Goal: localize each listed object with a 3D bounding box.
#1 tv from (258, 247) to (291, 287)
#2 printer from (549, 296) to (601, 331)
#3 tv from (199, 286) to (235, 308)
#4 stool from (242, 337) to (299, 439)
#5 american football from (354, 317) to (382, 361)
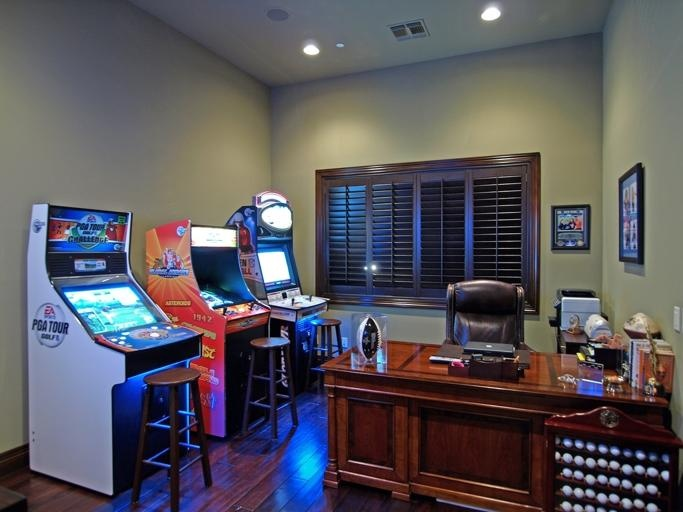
[{"bbox_3d":[-0.769,0.122,5.601,0.083,0.368,0.362,-13,-7,36],"label":"tv"},{"bbox_3d":[2.364,0.536,4.781,0.282,0.320,0.434,1,-1,19],"label":"printer"},{"bbox_3d":[-1.250,0.423,4.821,0.306,0.113,0.535,-3,10,-19],"label":"tv"},{"bbox_3d":[-0.665,1.224,4.822,0.524,0.907,0.883,1,10,10],"label":"stool"},{"bbox_3d":[0.194,0.588,3.827,0.083,0.215,0.281,15,-9,-40],"label":"american football"}]
